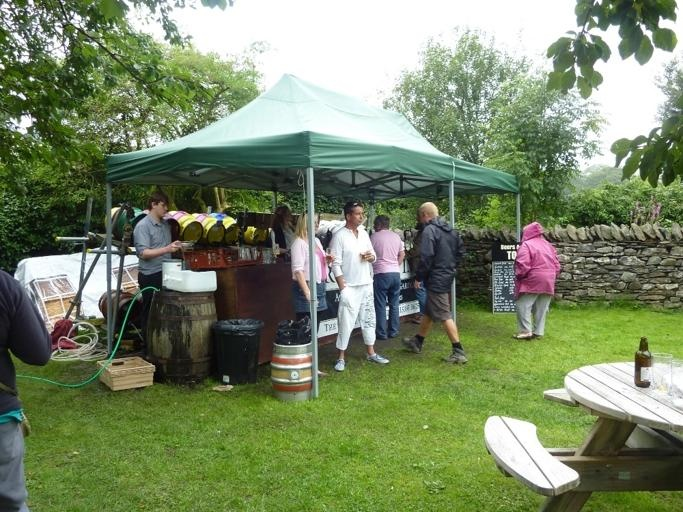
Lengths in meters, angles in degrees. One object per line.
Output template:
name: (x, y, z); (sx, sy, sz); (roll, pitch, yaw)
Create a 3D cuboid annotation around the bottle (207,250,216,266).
bottle: (-1.798, 0.054, 7.690); (0.094, 0.186, 0.104); (1, 9, 5)

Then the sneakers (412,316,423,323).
sneakers: (1.478, 1.276, 10.893); (0.291, 0.192, 0.099); (-4, -16, 35)

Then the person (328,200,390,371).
person: (0.234, 0.410, 7.922); (0.930, 2.351, 0.786); (-4, 9, -23)

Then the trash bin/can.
trash bin/can: (-1.323, 1.231, 6.973); (0.753, 0.766, 0.770); (-1, -2, 44)

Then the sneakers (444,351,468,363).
sneakers: (1.659, 1.481, 7.998); (0.360, 0.162, 0.134); (-2, -2, 31)

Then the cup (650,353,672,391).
cup: (2.459, 0.900, 4.249); (0.138, 0.275, 0.229); (5, 10, 29)

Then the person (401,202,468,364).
person: (1.421, 0.391, 8.143); (0.845, 2.311, 0.895); (0, 9, 0)

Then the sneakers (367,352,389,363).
sneakers: (0.533, 1.488, 8.039); (0.313, 0.116, 0.124); (2, 3, 23)

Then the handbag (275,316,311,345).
handbag: (-0.607, 0.937, 6.801); (0.382, 0.276, 0.281); (-1, -1, 41)

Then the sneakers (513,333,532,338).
sneakers: (3.084, 1.369, 9.389); (0.272, 0.113, 0.100); (1, -4, 10)

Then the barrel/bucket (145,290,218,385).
barrel/bucket: (-1.866, 1.039, 7.373); (1.093, 1.142, 1.080); (1, 0, 0)

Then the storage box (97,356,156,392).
storage box: (-2.756, 1.526, 7.147); (0.574, 0.308, 0.687); (-6, 10, -33)

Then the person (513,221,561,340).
person: (3.276, 0.431, 9.502); (0.841, 1.927, 0.584); (-5, 10, -28)

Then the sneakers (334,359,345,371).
sneakers: (-0.021, 1.541, 7.710); (0.124, 0.135, 0.327); (1, -4, -2)
